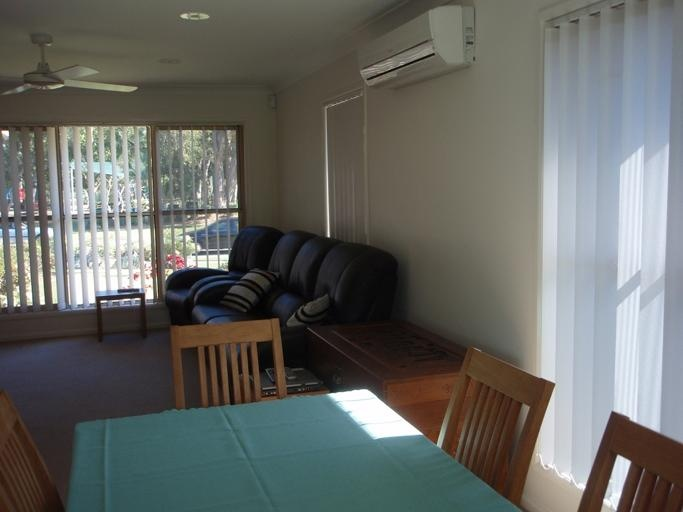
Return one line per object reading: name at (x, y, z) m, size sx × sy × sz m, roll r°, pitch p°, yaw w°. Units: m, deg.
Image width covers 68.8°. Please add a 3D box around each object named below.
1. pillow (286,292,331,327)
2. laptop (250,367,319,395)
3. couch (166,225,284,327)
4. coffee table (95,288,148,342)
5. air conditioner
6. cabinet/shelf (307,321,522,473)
pillow at (-0.241, 0.425, 3.798) m, size 0.331 × 0.236 × 0.195 m, roll -1°, pitch 9°, yaw -7°
laptop at (-0.322, 0.803, 3.164) m, size 0.221 × 0.058 × 0.235 m, roll -1°, pitch 6°, yaw -17°
couch at (-1.381, 0.295, 5.814) m, size 1.151 × 1.203 × 1.049 m, roll -4°, pitch 7°, yaw -29°
coffee table at (-2.740, 0.737, 6.290) m, size 0.569 × 0.784 × 0.773 m, roll 4°, pitch -5°, yaw -29°
air conditioner at (0.476, -1.368, 3.260) m, size 0.306 × 0.376 × 0.833 m, roll -5°, pitch 10°, yaw -29°
cabinet/shelf at (0.321, 1.061, 3.341) m, size 0.743 × 1.008 × 1.400 m, roll 1°, pitch 3°, yaw -18°
